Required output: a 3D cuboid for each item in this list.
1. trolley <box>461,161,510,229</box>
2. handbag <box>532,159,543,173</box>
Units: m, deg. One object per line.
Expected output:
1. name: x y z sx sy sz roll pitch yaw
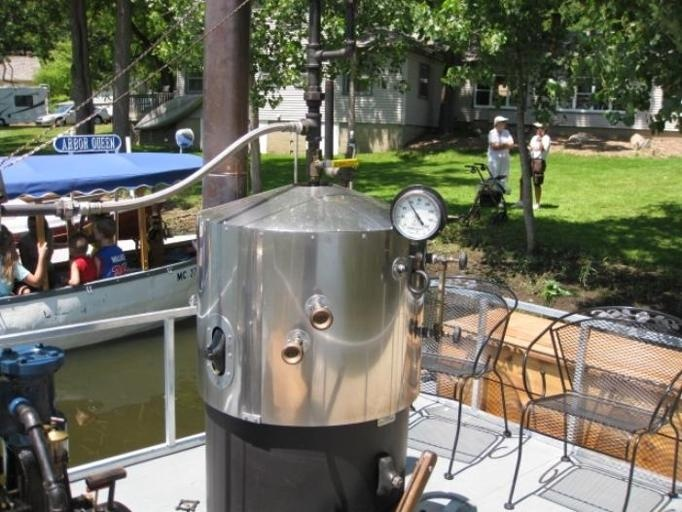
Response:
1. trolley: 2.772 -1.246 16.538 0.725 1.229 1.053 6 7 33
2. handbag: 3.917 -1.795 16.911 0.203 0.246 0.228 1 3 4
